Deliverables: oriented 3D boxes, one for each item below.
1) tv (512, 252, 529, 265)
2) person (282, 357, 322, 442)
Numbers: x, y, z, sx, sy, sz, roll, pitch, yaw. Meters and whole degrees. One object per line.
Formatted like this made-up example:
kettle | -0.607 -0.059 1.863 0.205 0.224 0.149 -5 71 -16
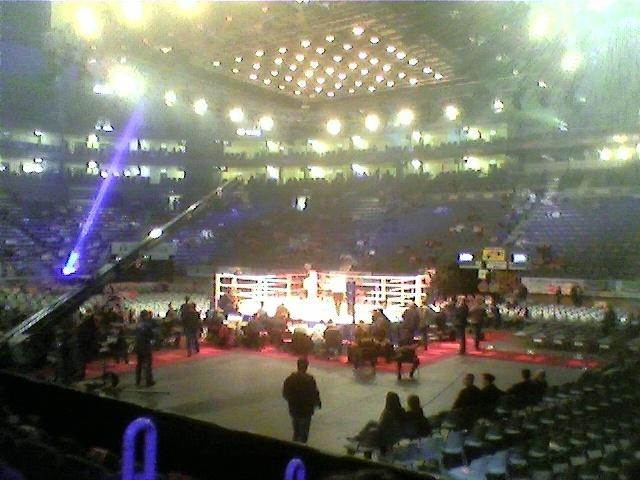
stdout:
tv | 6.926 0.662 17.333 0.523 0.135 0.576 3 8 16
person | -0.335 3.006 9.372 0.691 1.589 0.408 1 -6 2
